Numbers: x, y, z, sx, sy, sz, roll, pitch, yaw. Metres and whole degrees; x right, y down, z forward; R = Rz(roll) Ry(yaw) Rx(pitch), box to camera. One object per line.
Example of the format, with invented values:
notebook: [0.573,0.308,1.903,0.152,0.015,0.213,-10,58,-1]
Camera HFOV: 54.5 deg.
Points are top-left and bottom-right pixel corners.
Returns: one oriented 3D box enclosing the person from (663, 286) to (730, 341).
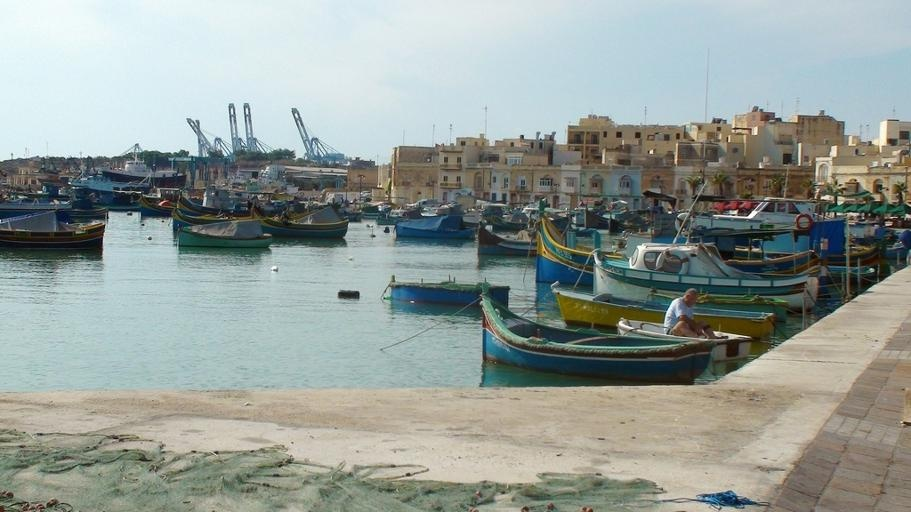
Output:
person: [6.503,1.618,24.412,1.349,1.476,1.006,-3,9,4]
